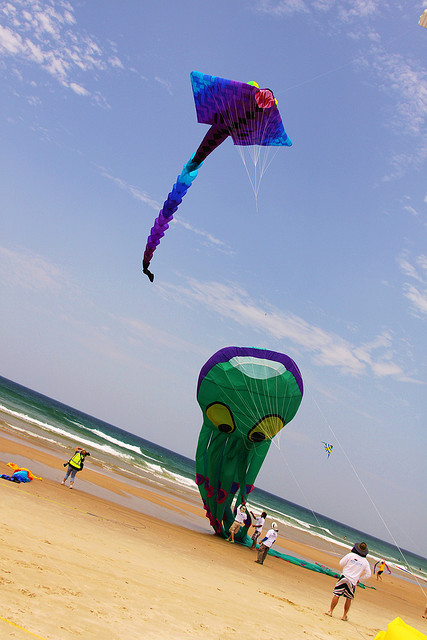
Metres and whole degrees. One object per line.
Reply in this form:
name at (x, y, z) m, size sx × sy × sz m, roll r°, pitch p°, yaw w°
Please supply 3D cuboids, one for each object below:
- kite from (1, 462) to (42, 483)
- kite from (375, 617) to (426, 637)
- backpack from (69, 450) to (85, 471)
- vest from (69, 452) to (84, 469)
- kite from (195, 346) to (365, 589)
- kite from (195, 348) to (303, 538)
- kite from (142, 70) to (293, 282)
kite at (-3.781, 3.018, 12.219) m, size 0.321 × 0.233 × 0.688 m, roll -15°, pitch 9°, yaw -37°
kite at (1.574, 2.539, 5.152) m, size 0.274 × 0.079 × 0.243 m, roll 25°, pitch -21°, yaw -38°
backpack at (-2.962, 3.061, 13.714) m, size 0.285 × 0.448 × 0.373 m, roll 21°, pitch -6°, yaw -8°
vest at (-2.938, 3.022, 13.627) m, size 0.246 × 0.318 × 0.194 m, roll 21°, pitch -6°, yaw -10°
kite at (1.859, 3.319, 15.698) m, size 4.829 × 5.222 × 2.109 m, roll 3°, pitch 10°, yaw -5°
kite at (0.444, 2.876, 14.770) m, size 2.266 × 4.110 × 1.510 m, roll 21°, pitch -6°, yaw -5°
kite at (-0.366, -2.264, 10.833) m, size 2.061 × 3.980 × 0.791 m, roll 39°, pitch 40°, yaw 0°
